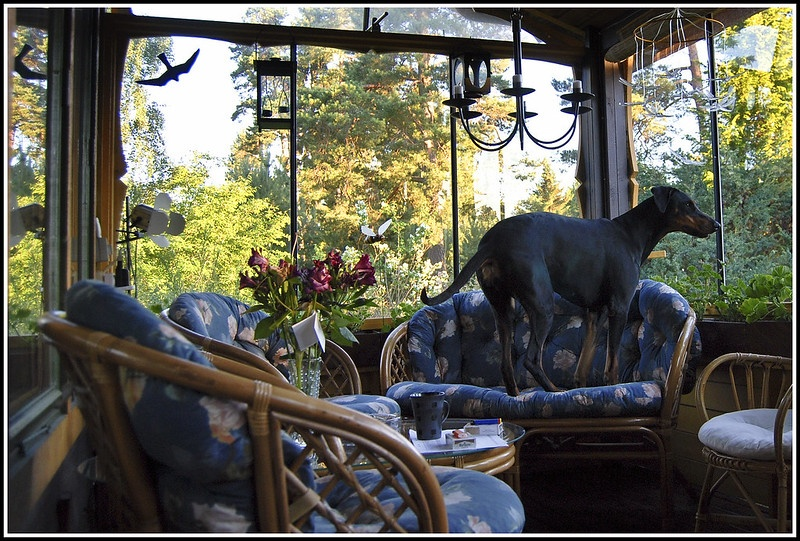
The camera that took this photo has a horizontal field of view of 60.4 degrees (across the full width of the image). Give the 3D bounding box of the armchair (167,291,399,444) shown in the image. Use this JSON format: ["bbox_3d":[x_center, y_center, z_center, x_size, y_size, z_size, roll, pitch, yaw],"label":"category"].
[{"bbox_3d":[-0.706,0.464,3.639,0.890,0.848,0.749,-19,-6,11],"label":"armchair"}]

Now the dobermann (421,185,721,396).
[{"bbox_3d":[1.050,0.115,4.115,1.800,1.270,0.444,-2,3,-14],"label":"dobermann"}]

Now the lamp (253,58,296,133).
[{"bbox_3d":[-0.944,-1.321,5.242,0.321,0.505,0.360,-3,11,-22],"label":"lamp"}]

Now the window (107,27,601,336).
[{"bbox_3d":[-0.760,-1.118,8.021,4.512,2.699,0.202,0,-7,-16],"label":"window"}]

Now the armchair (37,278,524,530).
[{"bbox_3d":[-0.348,0.484,2.576,1.259,0.787,1.023,0,-8,-7],"label":"armchair"}]

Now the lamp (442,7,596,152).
[{"bbox_3d":[0.651,-1.298,4.198,0.501,0.525,0.489,19,14,7],"label":"lamp"}]

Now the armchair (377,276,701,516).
[{"bbox_3d":[0.840,0.730,4.308,1.874,1.354,1.137,-5,-5,28],"label":"armchair"}]
